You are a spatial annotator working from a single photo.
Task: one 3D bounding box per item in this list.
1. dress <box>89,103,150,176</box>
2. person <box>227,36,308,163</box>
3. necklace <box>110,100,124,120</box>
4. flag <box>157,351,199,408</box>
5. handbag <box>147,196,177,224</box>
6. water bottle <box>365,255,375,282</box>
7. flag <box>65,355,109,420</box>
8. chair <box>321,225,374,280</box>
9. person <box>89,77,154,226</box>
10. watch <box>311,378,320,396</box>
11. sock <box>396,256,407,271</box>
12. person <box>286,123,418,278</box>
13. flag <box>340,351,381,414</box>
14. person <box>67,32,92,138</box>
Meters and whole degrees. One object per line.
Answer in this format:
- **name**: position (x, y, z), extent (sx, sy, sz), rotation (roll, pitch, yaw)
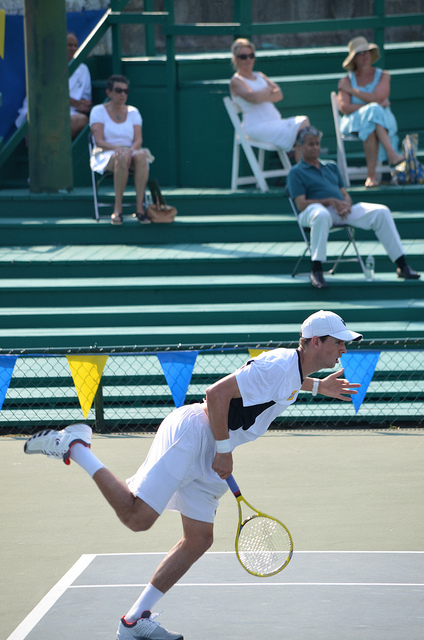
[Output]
- **dress**: position (-0.949, -1.752, 12.634), extent (0.525, 0.747, 0.450), rotation (-3, -12, -16)
- **person**: position (0.592, -2.157, 12.881), extent (0.842, 1.169, 0.674), rotation (0, 12, 6)
- **necklace**: position (-0.972, -2.005, 12.655), extent (0.090, 0.146, 0.043), rotation (-4, 17, 33)
- **flag**: position (-0.260, 0.432, 9.218), extent (0.319, 0.008, 0.580), rotation (-5, 41, 4)
- **handbag**: position (-0.501, -1.036, 12.412), extent (0.249, 0.276, 0.119), rotation (-4, 14, -23)
- **water bottle**: position (1.453, -0.458, 11.282), extent (0.083, 0.231, 0.331), rotation (0, 13, 7)
- **flag**: position (-0.915, 0.456, 9.169), extent (0.301, 0.008, 0.518), rotation (0, 48, -9)
- **chair**: position (1.315, -0.583, 11.579), extent (0.340, 0.597, 0.505), rotation (-3, -8, -1)
- **person**: position (-0.925, -1.616, 12.518), extent (0.606, 1.365, 1.213), rotation (-2, 12, -6)
- **watch**: position (0.597, 0.348, 7.017), extent (0.053, 0.106, 0.095), rotation (7, -17, 8)
- **sock**: position (1.719, -0.483, 11.157), extent (0.093, 0.119, 0.105), rotation (-2, 12, -3)
- **person**: position (1.418, -1.079, 11.638), extent (1.091, 1.840, 1.330), rotation (-8, 10, -35)
- **flag**: position (1.106, 0.447, 9.438), extent (0.352, 0.475, 0.330), rotation (6, 14, 29)
- **person**: position (-1.508, -2.517, 14.073), extent (0.245, 1.081, 0.587), rotation (-2, 12, -7)
